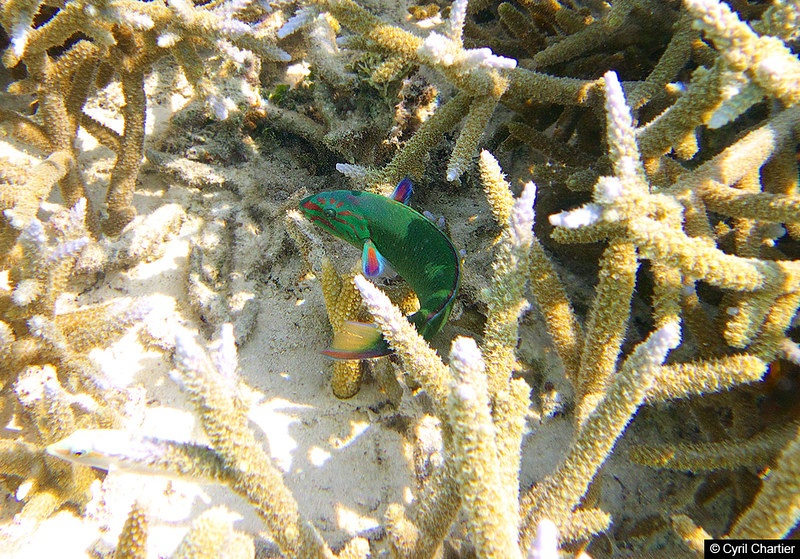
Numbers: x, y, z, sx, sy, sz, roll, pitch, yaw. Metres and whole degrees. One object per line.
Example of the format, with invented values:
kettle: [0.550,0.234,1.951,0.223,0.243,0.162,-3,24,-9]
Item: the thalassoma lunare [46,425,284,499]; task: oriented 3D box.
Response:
thalassoma lunare: [-1.359,1.044,3.954,0.770,0.306,0.193,15,43,-22]
